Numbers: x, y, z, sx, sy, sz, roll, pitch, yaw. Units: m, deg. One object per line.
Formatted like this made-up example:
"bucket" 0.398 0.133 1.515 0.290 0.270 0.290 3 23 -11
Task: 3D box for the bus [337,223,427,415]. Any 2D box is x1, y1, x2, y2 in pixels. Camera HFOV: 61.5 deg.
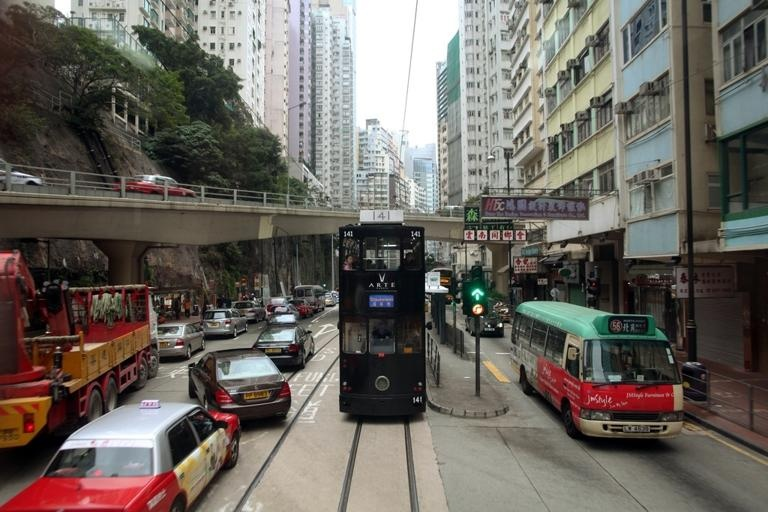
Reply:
"bus" -0.045 2.178 22.544 2.923 6.343 1.569 0 11 -1

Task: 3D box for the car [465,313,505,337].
"car" 6.542 4.288 41.284 2.265 1.514 1.573 1 11 3

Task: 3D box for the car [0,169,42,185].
"car" -19.576 -4.307 34.770 1.197 0.854 2.644 3 11 10

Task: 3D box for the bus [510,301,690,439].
"bus" 7.274 3.823 23.012 3.044 4.405 6.398 -3 12 -17
